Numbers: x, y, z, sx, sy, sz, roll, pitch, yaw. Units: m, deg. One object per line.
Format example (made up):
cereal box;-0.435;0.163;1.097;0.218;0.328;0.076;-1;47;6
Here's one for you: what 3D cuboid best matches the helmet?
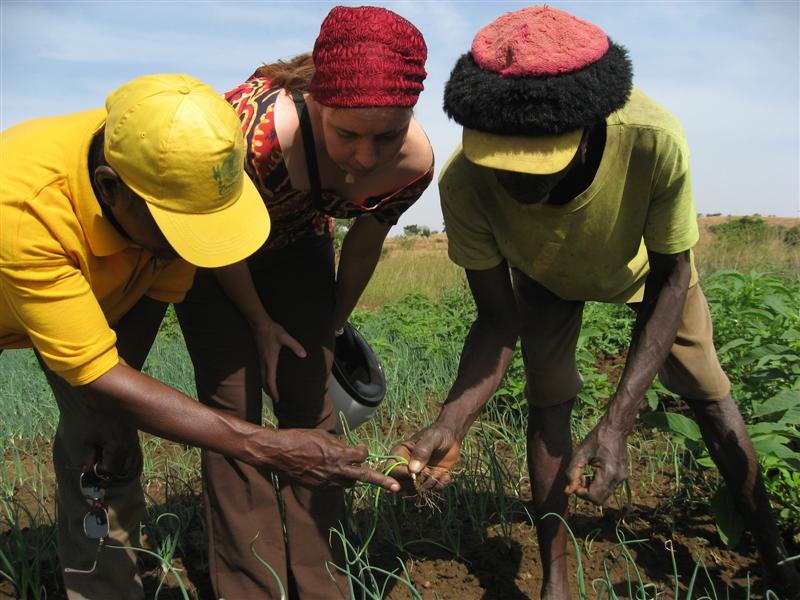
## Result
helmet;-0.248;0.427;3.223;0.380;0.308;0.515;28;34;-51
